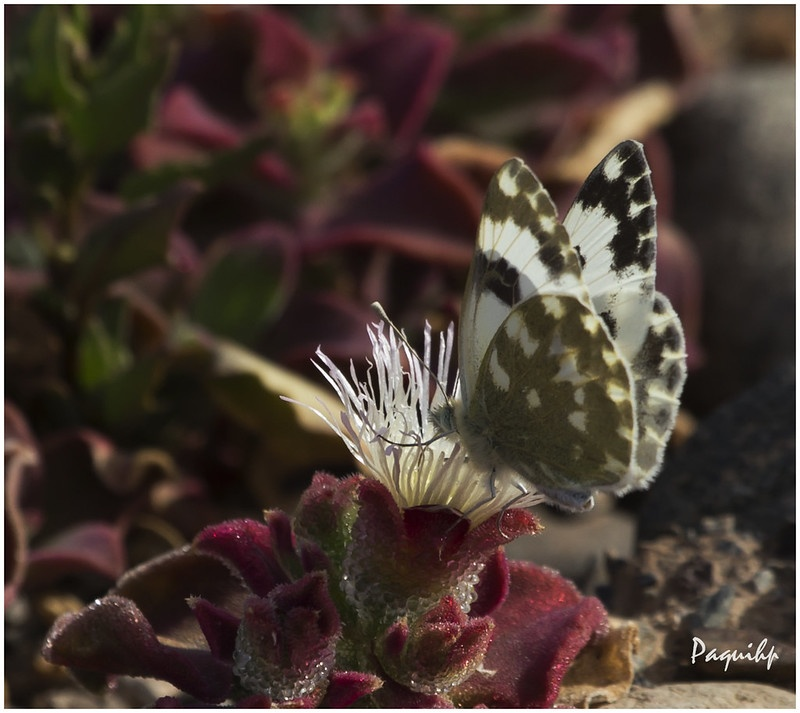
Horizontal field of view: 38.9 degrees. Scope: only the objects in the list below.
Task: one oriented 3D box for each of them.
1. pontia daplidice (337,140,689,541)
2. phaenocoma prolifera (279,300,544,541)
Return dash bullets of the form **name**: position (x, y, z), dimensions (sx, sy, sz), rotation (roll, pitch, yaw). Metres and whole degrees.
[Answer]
- **pontia daplidice**: position (0.155, 0.002, 1.109), dimensions (0.357, 0.296, 0.364), rotation (7, 84, 13)
- **phaenocoma prolifera**: position (0.028, 0.065, 1.165), dimensions (0.218, 0.270, 0.184), rotation (-21, 29, -33)
